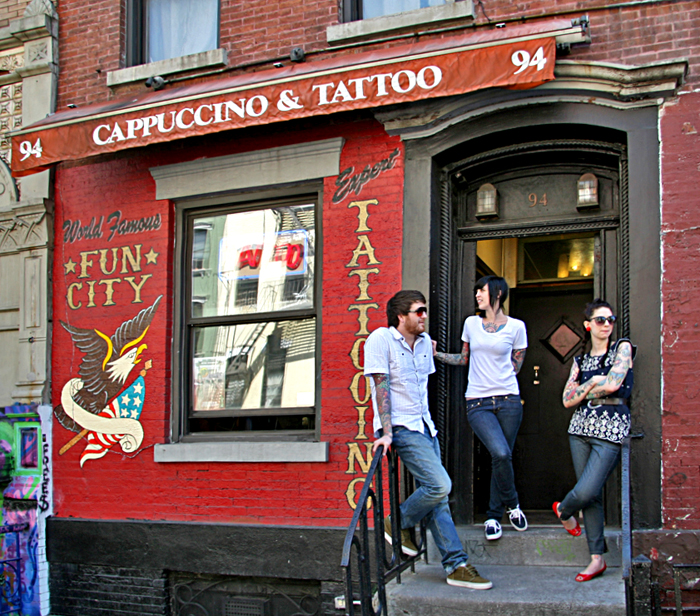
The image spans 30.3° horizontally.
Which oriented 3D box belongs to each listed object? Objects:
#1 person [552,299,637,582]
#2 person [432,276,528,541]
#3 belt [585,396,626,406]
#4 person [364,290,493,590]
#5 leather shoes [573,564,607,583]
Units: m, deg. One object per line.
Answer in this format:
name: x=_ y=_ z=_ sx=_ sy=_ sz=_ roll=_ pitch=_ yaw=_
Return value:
person: x=1.995 y=1.010 z=9.911 sx=0.595 sy=2.145 sz=0.405 roll=-1 pitch=-7 yaw=11
person: x=1.167 y=0.792 z=10.628 sx=0.650 sy=1.941 sz=0.724 roll=0 pitch=-1 yaw=-1
belt: x=2.083 y=0.709 z=9.889 sx=0.291 sy=0.088 sz=0.084 roll=-1 pitch=-7 yaw=7
person: x=0.596 y=0.952 z=9.970 sx=0.803 sy=2.264 sz=1.083 roll=-2 pitch=-4 yaw=-9
leather shoes: x=1.967 y=2.017 z=9.900 sx=0.156 sy=0.144 sz=0.326 roll=-6 pitch=-9 yaw=39
